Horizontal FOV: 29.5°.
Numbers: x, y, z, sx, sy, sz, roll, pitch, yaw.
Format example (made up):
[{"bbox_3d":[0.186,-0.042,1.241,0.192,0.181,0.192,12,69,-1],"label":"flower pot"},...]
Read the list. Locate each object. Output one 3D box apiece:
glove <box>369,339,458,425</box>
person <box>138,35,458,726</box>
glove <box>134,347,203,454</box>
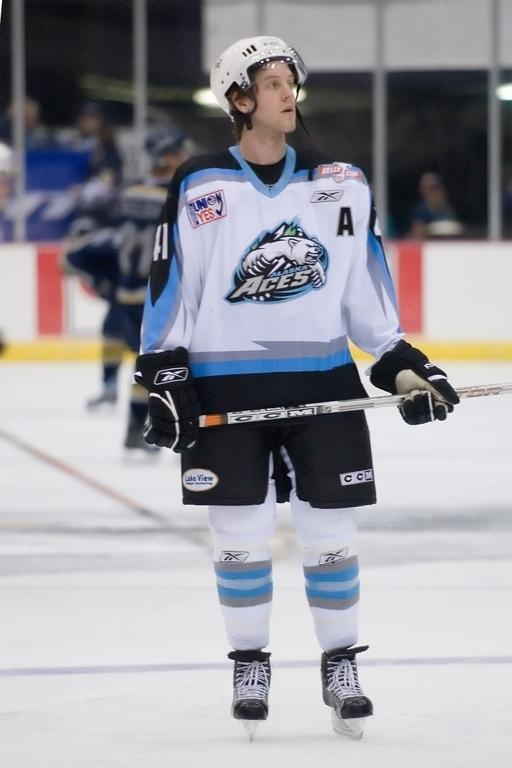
[{"bbox_3d":[0.309,-0.005,1.902,0.144,0.160,0.236,1,3,-11],"label":"glove"},{"bbox_3d":[0.078,-0.030,1.850,0.612,1.324,0.359,1,4,-7],"label":"person"},{"bbox_3d":[-0.162,0.025,1.788,0.137,0.178,0.057,-6,-1,17],"label":"glove"}]
